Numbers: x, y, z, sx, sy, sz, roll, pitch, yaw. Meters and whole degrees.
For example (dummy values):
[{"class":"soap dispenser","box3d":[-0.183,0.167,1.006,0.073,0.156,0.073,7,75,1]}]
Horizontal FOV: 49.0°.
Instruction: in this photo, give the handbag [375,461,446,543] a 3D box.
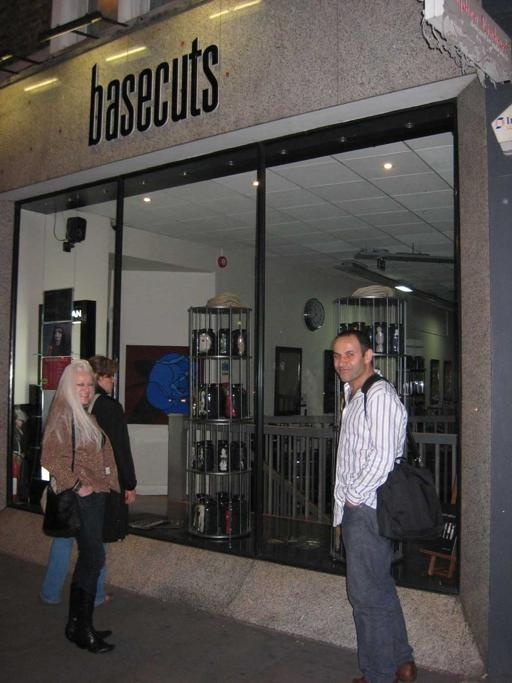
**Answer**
[{"class":"handbag","box3d":[0.623,0.663,2.300,0.272,0.254,0.197,-4,-2,-4]}]

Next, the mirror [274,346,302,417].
[{"class":"mirror","box3d":[0.645,0.802,11.419,0.307,1.386,1.024,-5,-3,32]}]

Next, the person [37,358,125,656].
[{"class":"person","box3d":[-0.905,0.853,2.940,0.401,1.513,0.285,-2,-3,-30]}]

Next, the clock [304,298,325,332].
[{"class":"clock","box3d":[1.208,-0.598,11.855,0.079,0.580,0.576,-7,-19,29]}]

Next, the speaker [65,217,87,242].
[{"class":"speaker","box3d":[-1.926,-1.205,5.948,0.140,0.134,0.246,-30,-21,-38]}]
